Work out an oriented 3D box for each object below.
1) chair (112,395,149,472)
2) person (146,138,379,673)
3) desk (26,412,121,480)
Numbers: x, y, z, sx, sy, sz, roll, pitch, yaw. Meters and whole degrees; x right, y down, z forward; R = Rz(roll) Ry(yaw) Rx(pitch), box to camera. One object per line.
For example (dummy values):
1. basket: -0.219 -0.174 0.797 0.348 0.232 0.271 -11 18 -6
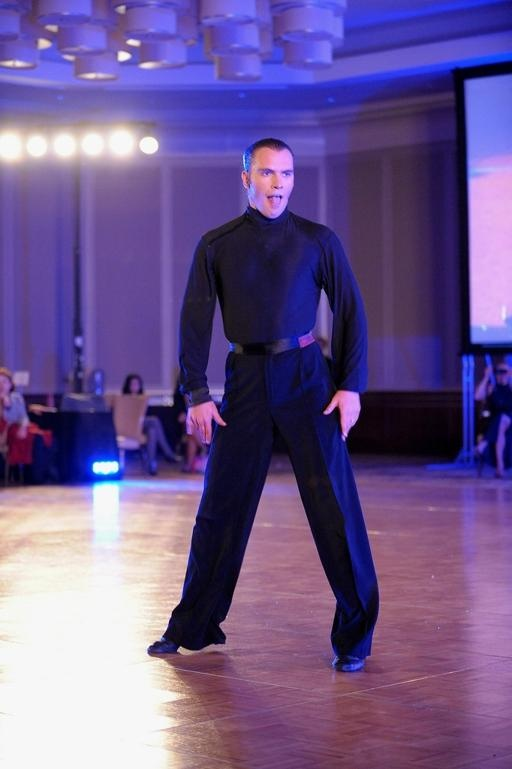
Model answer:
1. chair: -1.443 0.544 9.883 0.451 0.981 0.559 -2 -8 -15
2. person: 0.022 0.062 2.416 0.617 1.477 0.243 -1 3 18
3. desk: -1.959 0.701 9.345 0.680 0.974 0.729 -9 -8 15
